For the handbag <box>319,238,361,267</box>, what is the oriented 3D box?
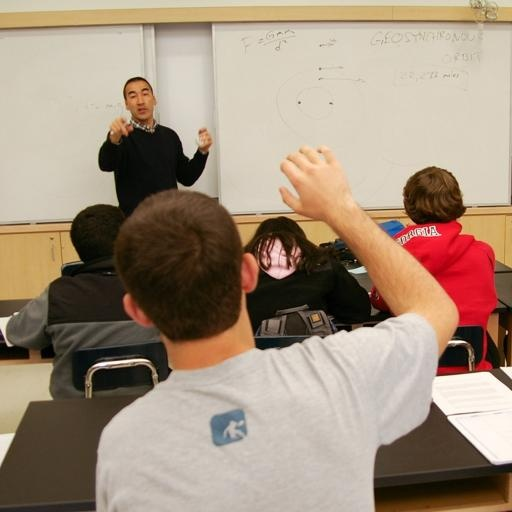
[{"bbox_3d":[0.488,-0.046,2.946,0.220,0.100,0.186,-1,12,-18],"label":"handbag"}]
